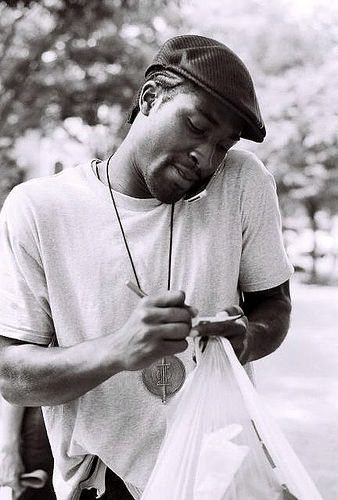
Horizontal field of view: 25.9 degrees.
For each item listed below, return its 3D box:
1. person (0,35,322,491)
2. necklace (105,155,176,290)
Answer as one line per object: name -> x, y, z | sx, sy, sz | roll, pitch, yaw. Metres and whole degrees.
person -> -0.051, 0.010, 2.166 | 0.932, 1.264, 0.685 | -1, 9, 9
necklace -> -0.109, -0.094, 2.318 | 0.182, 0.405, 0.318 | -9, 11, -41
